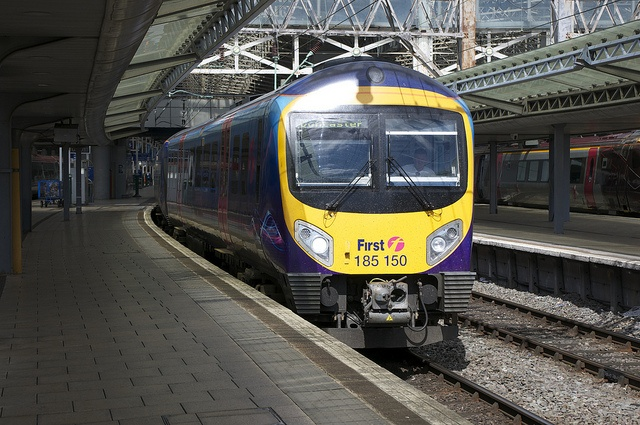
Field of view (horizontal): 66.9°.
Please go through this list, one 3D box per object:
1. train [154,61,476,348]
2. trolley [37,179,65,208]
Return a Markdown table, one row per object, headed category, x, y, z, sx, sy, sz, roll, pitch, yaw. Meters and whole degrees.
| category | x | y | z | sx | sy | sz | roll | pitch | yaw |
| --- | --- | --- | --- | --- | --- | --- | --- | --- | --- |
| train | -2.392 | -0.665 | 15.844 | 3.132 | 4.857 | 18.203 | -1 | 3 | -23 |
| trolley | -19.081 | -1.293 | 34.556 | 1.702 | 2.080 | 2.034 | 0 | 1 | -22 |
